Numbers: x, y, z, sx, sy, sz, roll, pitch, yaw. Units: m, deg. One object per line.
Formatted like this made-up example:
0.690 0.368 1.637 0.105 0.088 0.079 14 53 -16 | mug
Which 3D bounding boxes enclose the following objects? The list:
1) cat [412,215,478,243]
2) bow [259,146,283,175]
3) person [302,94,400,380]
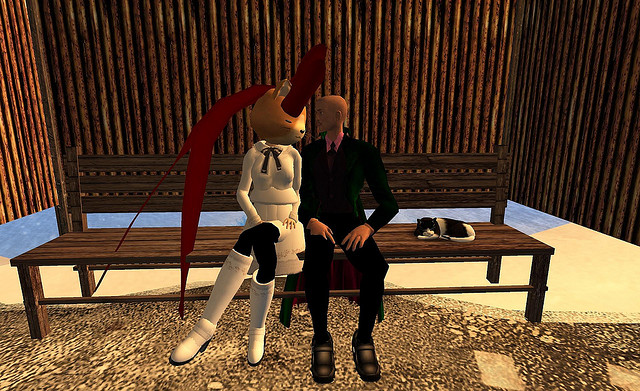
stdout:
1.196 0.321 3.547 0.445 0.118 0.292 1 4 -4 | cat
-0.412 -0.280 3.143 0.311 0.251 0.051 1 8 1 | bow
0.253 0.331 3.162 0.808 2.334 0.757 0 13 -3 | person
